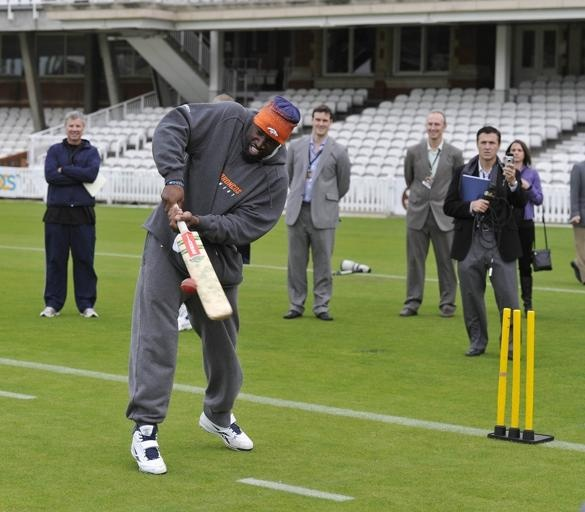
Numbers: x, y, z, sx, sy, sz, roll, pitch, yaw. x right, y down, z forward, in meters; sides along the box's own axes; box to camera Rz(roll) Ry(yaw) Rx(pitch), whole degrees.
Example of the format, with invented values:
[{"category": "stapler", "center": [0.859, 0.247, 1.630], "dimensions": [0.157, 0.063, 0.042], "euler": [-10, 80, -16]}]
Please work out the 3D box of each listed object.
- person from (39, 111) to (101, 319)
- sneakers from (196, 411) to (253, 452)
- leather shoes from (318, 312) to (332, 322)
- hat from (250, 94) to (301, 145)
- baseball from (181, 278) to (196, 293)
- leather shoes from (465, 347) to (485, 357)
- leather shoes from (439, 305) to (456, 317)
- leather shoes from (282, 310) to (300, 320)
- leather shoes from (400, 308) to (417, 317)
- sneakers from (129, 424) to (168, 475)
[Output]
[{"category": "person", "center": [-2.169, -0.390, 11.283], "dimensions": [0.564, 1.997, 0.489], "euler": [0, 6, -11]}, {"category": "sneakers", "center": [-0.446, 1.132, 7.515], "dimensions": [0.293, 0.125, 0.098], "euler": [31, 27, 0]}, {"category": "leather shoes", "center": [0.341, 0.603, 11.720], "dimensions": [0.067, 0.069, 0.174], "euler": [-7, 5, -36]}, {"category": "hat", "center": [-0.101, -0.836, 7.163], "dimensions": [0.281, 0.294, 0.280], "euler": [1, 6, -2]}, {"category": "baseball", "center": [-0.607, 0.169, 6.777], "dimensions": [0.077, 0.066, 0.077], "euler": [2, -8, -10]}, {"category": "leather shoes", "center": [1.599, 0.821, 10.118], "dimensions": [0.203, 0.084, 0.068], "euler": [3, 6, -6]}, {"category": "leather shoes", "center": [1.628, 0.558, 12.099], "dimensions": [0.098, 0.141, 0.142], "euler": [2, 6, 17]}, {"category": "leather shoes", "center": [-0.006, 0.593, 11.776], "dimensions": [0.072, 0.078, 0.196], "euler": [1, -2, 29]}, {"category": "leather shoes", "center": [1.224, 0.580, 12.122], "dimensions": [0.203, 0.143, 0.071], "euler": [1, 5, 0]}, {"category": "sneakers", "center": [-0.863, 1.139, 7.003], "dimensions": [0.213, 0.296, 0.185], "euler": [1, 6, -5]}]
